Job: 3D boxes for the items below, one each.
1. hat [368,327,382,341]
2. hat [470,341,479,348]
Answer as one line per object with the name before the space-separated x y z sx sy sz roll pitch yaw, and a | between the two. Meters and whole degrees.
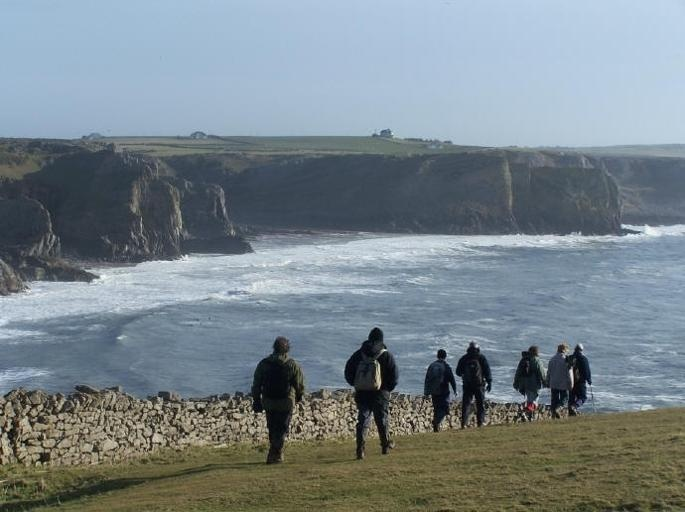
hat | 1.905 4.618 80.587 0.623 0.644 0.804 3 3 2
hat | 7.792 5.342 82.622 0.361 0.343 0.458 3 10 -5
